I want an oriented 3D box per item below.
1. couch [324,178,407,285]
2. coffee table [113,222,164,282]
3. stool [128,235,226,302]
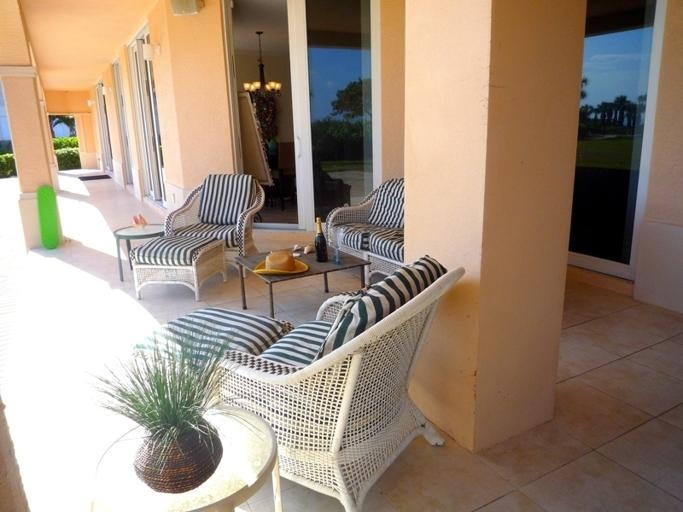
[{"bbox_3d":[0.247,-0.233,4.856,0.659,0.811,1.108,-10,20,-26],"label":"couch"},{"bbox_3d":[-2.059,-0.024,5.022,0.501,0.524,0.548,0,27,-1],"label":"coffee table"},{"bbox_3d":[-1.566,0.090,4.849,0.698,0.469,0.692,-2,13,9],"label":"stool"}]
